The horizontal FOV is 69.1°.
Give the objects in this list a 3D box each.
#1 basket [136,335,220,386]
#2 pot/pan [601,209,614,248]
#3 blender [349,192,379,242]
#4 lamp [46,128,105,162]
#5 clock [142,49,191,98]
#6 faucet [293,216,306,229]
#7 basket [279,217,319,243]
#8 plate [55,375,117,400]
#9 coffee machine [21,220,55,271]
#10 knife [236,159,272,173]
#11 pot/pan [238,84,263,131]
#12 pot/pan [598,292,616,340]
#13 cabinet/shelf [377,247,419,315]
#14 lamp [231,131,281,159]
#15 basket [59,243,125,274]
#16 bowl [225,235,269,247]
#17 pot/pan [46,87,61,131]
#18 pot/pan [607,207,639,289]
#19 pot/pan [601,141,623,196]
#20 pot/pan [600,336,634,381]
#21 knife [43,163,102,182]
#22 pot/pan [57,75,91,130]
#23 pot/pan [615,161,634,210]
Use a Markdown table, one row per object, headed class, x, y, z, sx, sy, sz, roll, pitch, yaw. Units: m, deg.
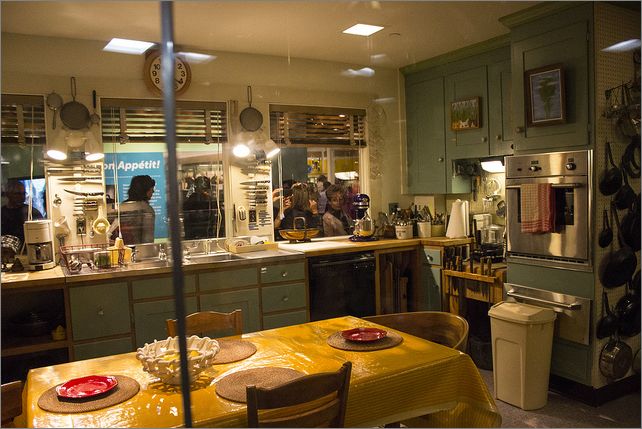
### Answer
| class | x | y | z | sx | sy | sz | roll | pitch | yaw |
| --- | --- | --- | --- | --- | --- | --- | --- | --- | --- |
| basket | -0.700 | 0.701 | 2.221 | 0.397 | 0.156 | 0.393 | 1 | -1 | -20 |
| pot/pan | 2.059 | 0.117 | 3.369 | 0.135 | 0.252 | 0.036 | -7 | 2 | -45 |
| blender | 0.413 | 0.029 | 4.729 | 0.283 | 0.467 | 0.312 | -3 | 4 | -8 |
| lamp | -2.045 | -0.575 | 3.872 | 0.410 | 0.276 | 0.122 | -5 | 4 | -30 |
| clock | -0.448 | -0.411 | 1.357 | 0.015 | 0.142 | 0.149 | 17 | 23 | 42 |
| faucet | -0.224 | 0.089 | 4.664 | 0.124 | 0.118 | 0.041 | 0 | -3 | -4 |
| basket | -0.213 | 0.133 | 4.613 | 0.296 | 0.181 | 0.267 | -4 | 4 | -27 |
| plate | -1.103 | 0.816 | 2.187 | 0.257 | 0.041 | 0.172 | -5 | 4 | -25 |
| coffee machine | -2.253 | 0.250 | 3.759 | 0.233 | 0.387 | 0.252 | -1 | 3 | 38 |
| knife | -0.639 | -0.454 | 4.391 | 0.324 | 0.142 | 0.028 | -4 | 4 | -14 |
| pot/pan | -0.647 | -0.976 | 4.195 | 0.253 | 0.449 | 0.052 | -12 | 16 | -21 |
| pot/pan | 2.089 | 0.747 | 3.409 | 0.149 | 0.366 | 0.066 | -5 | 4 | -28 |
| cabinet/shelf | 0.820 | 0.716 | 4.675 | 0.386 | 0.625 | 0.351 | -6 | 4 | -13 |
| lamp | -0.611 | -0.655 | 4.381 | 0.442 | 0.261 | 0.131 | -5 | 4 | -31 |
| basket | -1.826 | 0.353 | 3.767 | 0.364 | 0.121 | 0.266 | -3 | 4 | -30 |
| bowl | -0.689 | 0.247 | 4.359 | 0.437 | 0.077 | 0.225 | -4 | 4 | -13 |
| pot/pan | -2.190 | -0.878 | 3.802 | 0.155 | 0.336 | 0.049 | 0 | 6 | -32 |
| pot/pan | 2.179 | 0.233 | 3.397 | 0.307 | 0.624 | 0.102 | -5 | 4 | -29 |
| pot/pan | 2.106 | -0.332 | 3.371 | 0.211 | 0.387 | 0.066 | -5 | 4 | -23 |
| pot/pan | 2.173 | 1.077 | 3.435 | 0.300 | 0.296 | 0.108 | -16 | 4 | -28 |
| knife | -2.067 | -0.347 | 3.904 | 0.427 | 0.171 | 0.048 | -4 | 4 | -21 |
| pot/pan | -2.019 | -0.924 | 3.834 | 0.058 | 0.405 | 0.229 | 5 | 8 | 43 |
| pot/pan | 2.231 | -0.201 | 3.428 | 0.179 | 0.282 | 0.040 | -4 | 1 | -36 |
